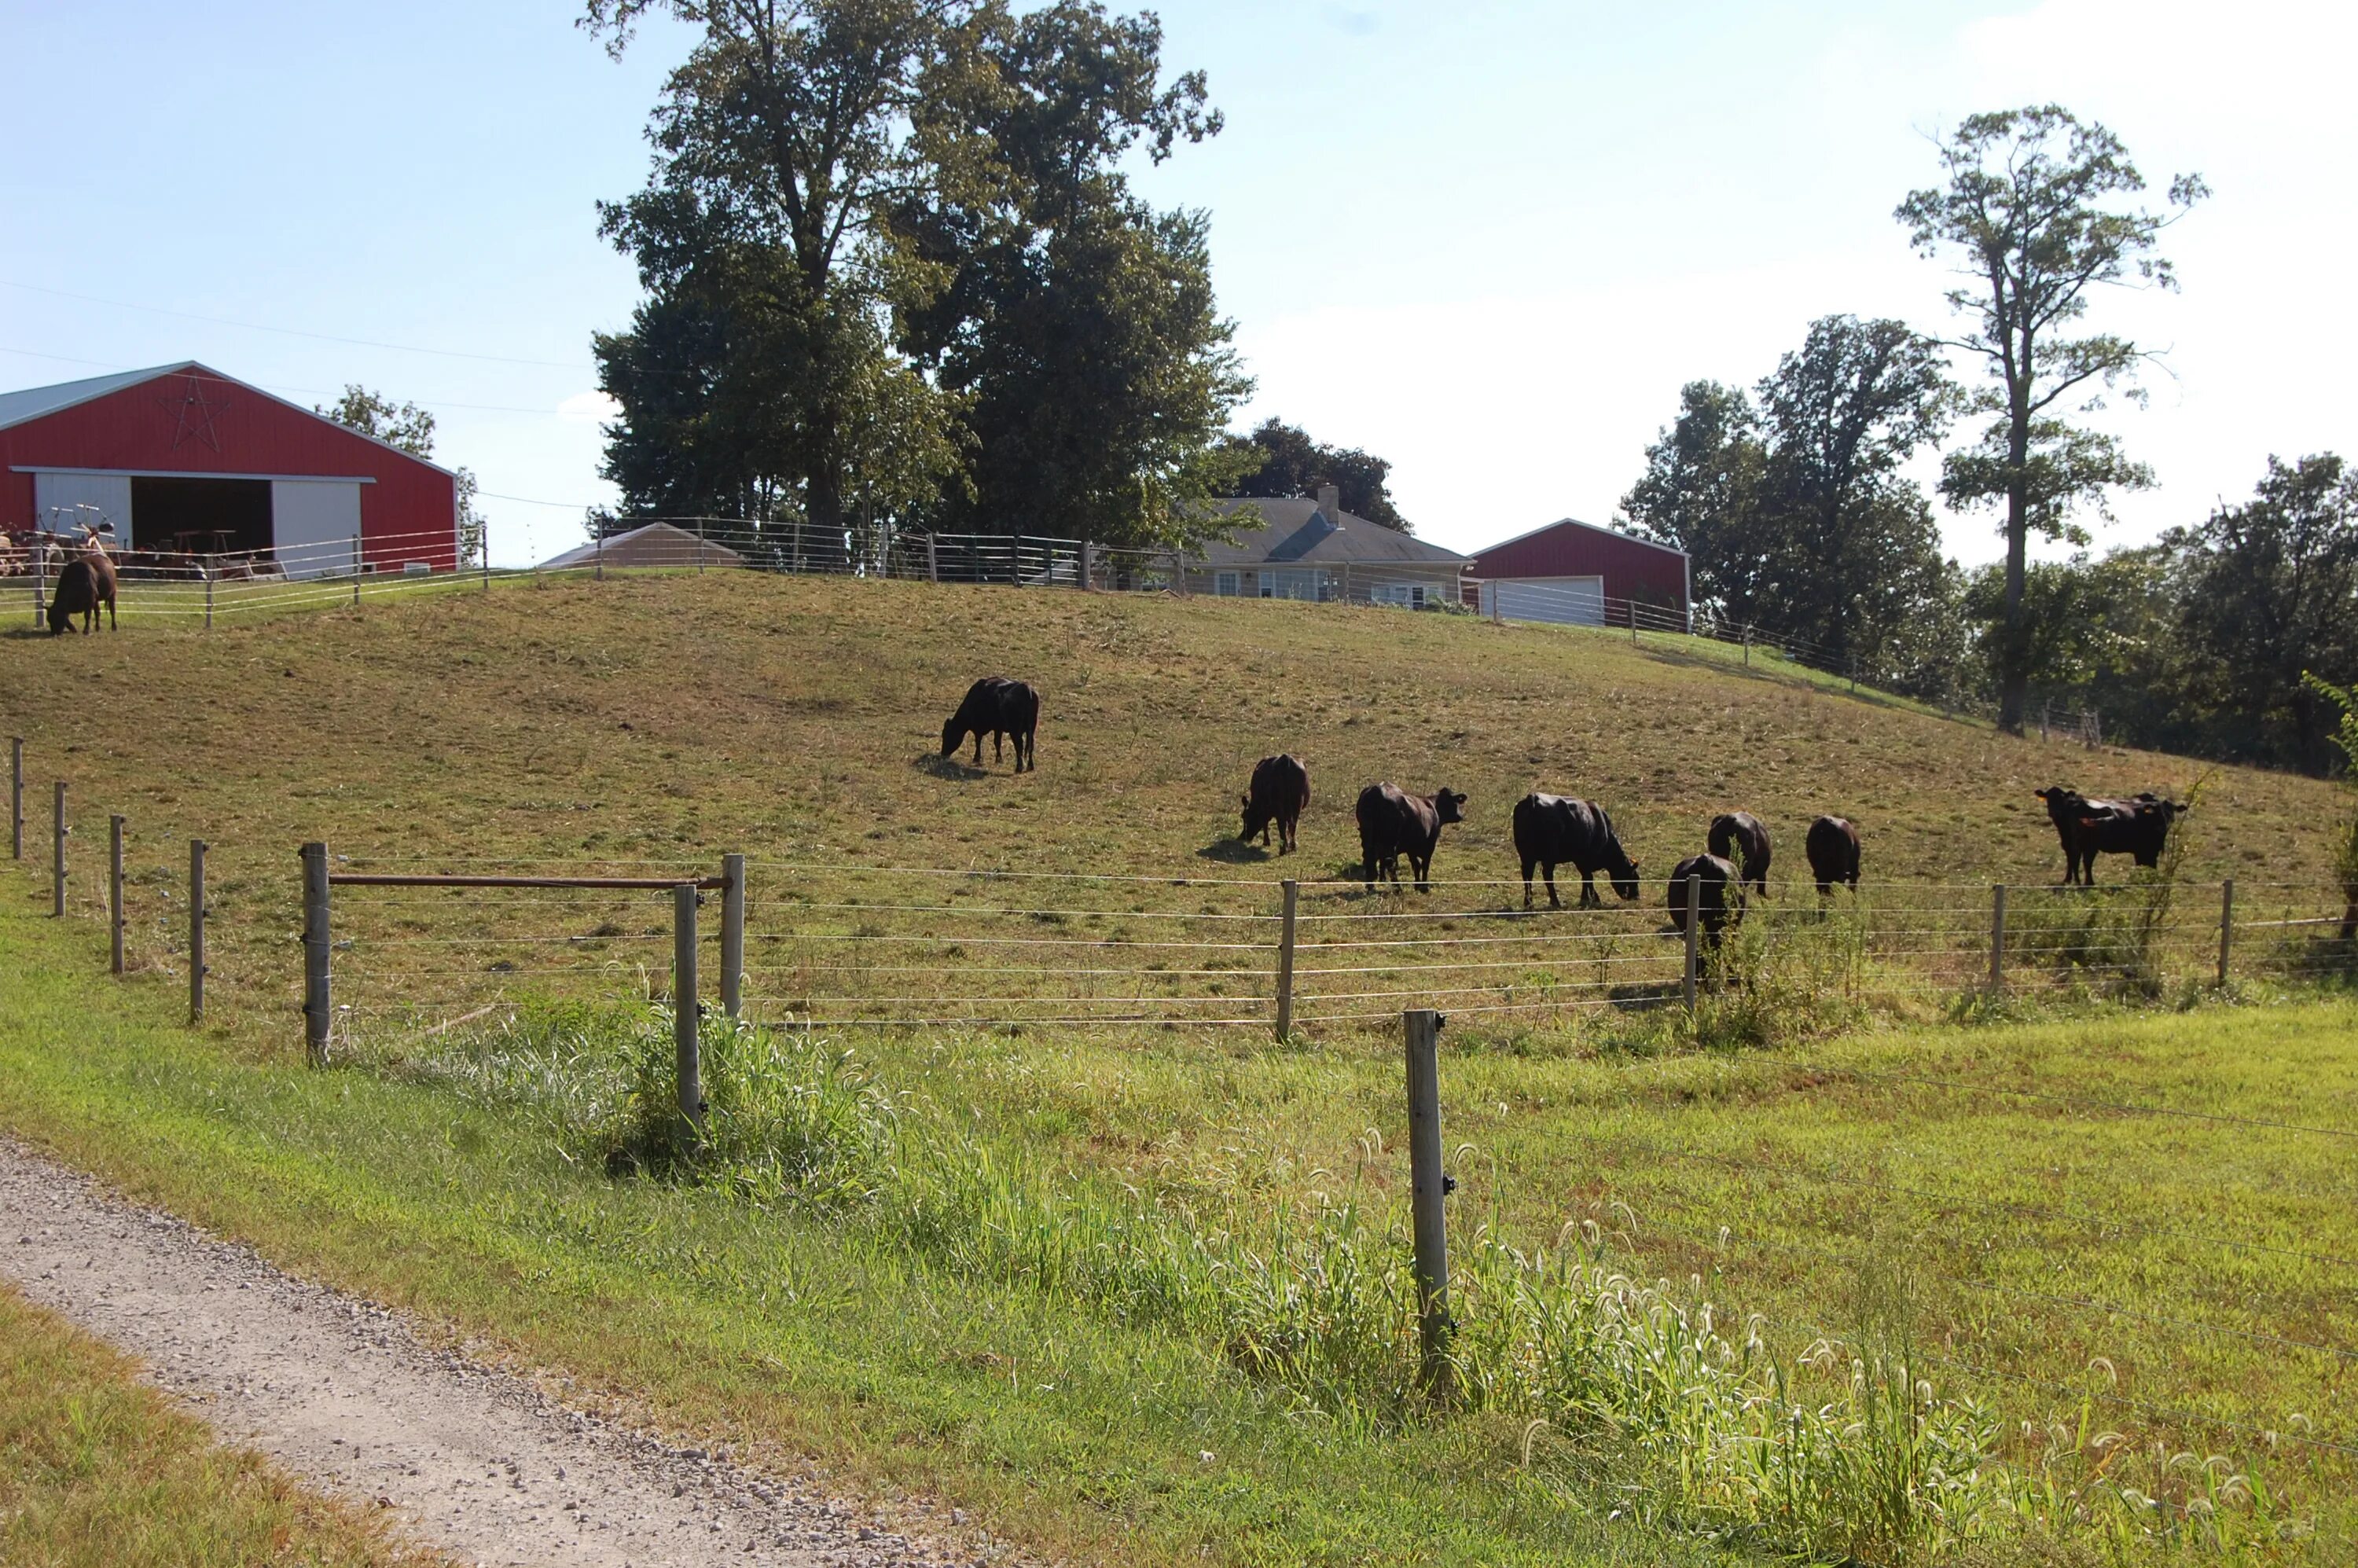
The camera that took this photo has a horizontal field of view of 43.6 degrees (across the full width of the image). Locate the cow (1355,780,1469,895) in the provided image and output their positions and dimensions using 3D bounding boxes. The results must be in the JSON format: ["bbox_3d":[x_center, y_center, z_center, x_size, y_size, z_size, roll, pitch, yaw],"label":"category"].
[{"bbox_3d":[4.044,0.914,50.933,0.842,1.761,2.759,0,0,40],"label":"cow"}]

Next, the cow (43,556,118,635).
[{"bbox_3d":[-22.011,-3.824,59.487,1.235,1.425,2.143,1,10,-13],"label":"cow"}]

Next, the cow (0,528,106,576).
[{"bbox_3d":[-24.337,-4.919,63.808,1.462,0.627,2.326,-3,6,-34],"label":"cow"}]
